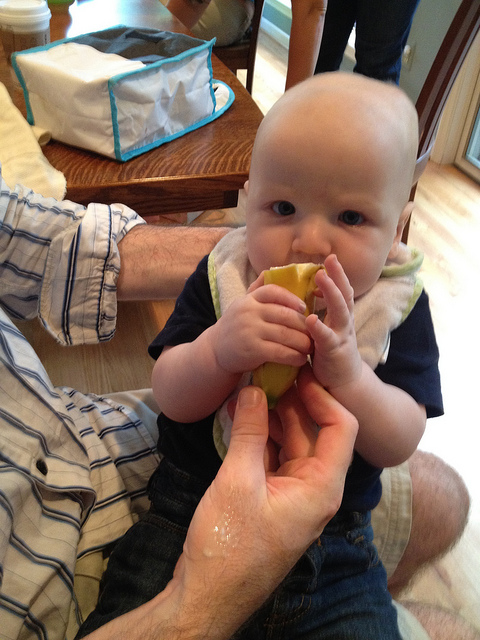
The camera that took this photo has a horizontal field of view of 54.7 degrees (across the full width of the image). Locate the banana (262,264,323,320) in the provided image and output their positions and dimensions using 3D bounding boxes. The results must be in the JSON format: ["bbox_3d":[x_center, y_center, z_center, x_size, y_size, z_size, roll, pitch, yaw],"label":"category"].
[{"bbox_3d":[0.047,-0.020,0.467,0.047,0.054,0.066,-17,91,-15],"label":"banana"}]

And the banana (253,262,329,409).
[{"bbox_3d":[0.045,0.006,0.468,0.062,0.138,0.120,17,55,13],"label":"banana"}]
